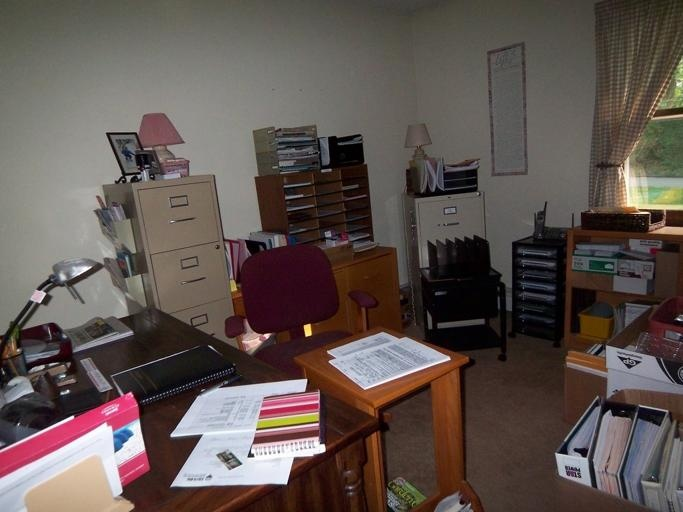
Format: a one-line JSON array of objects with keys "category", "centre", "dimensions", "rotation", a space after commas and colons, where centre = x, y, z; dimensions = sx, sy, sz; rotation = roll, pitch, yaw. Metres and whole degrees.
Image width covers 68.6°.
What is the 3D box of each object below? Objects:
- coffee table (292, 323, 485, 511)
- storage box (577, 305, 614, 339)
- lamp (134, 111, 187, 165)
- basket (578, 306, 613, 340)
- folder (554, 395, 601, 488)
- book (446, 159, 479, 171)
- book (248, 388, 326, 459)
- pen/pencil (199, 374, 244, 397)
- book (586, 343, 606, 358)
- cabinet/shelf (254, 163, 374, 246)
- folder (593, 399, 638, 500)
[{"category": "coffee table", "centre": [0.315, 0.738, 2.660], "dimensions": [0.701, 1.017, 0.830], "rotation": [-12, 12, -40]}, {"category": "storage box", "centre": [2.048, 0.523, 4.010], "dimensions": [0.196, 0.132, 0.298], "rotation": [2, 7, 37]}, {"category": "lamp", "centre": [-1.310, -0.842, 3.575], "dimensions": [0.261, 0.332, 0.365], "rotation": [-13, 14, -26]}, {"category": "basket", "centre": [2.035, 0.527, 3.985], "dimensions": [0.199, 0.129, 0.292], "rotation": [2, 8, 38]}, {"category": "folder", "centre": [1.255, 0.987, 2.648], "dimensions": [0.134, 0.163, 0.468], "rotation": [6, 31, 40]}, {"category": "book", "centre": [1.051, -0.795, 4.399], "dimensions": [0.264, 0.082, 0.256], "rotation": [-4, 13, 11]}, {"category": "book", "centre": [-0.212, 0.655, 1.934], "dimensions": [0.275, 0.112, 0.273], "rotation": [-7, 13, -3]}, {"category": "pen/pencil", "centre": [-0.537, 0.571, 2.199], "dimensions": [0.024, 0.027, 0.158], "rotation": [16, 27, 42]}, {"category": "book", "centre": [1.662, 0.613, 3.263], "dimensions": [0.097, 0.024, 0.101], "rotation": [-11, 12, 12]}, {"category": "cabinet/shelf", "centre": [-0.280, -0.436, 4.199], "dimensions": [0.212, 0.604, 0.668], "rotation": [4, 15, 45]}, {"category": "folder", "centre": [1.403, 0.983, 2.545], "dimensions": [0.273, 0.115, 0.379], "rotation": [1, 49, 44]}]
